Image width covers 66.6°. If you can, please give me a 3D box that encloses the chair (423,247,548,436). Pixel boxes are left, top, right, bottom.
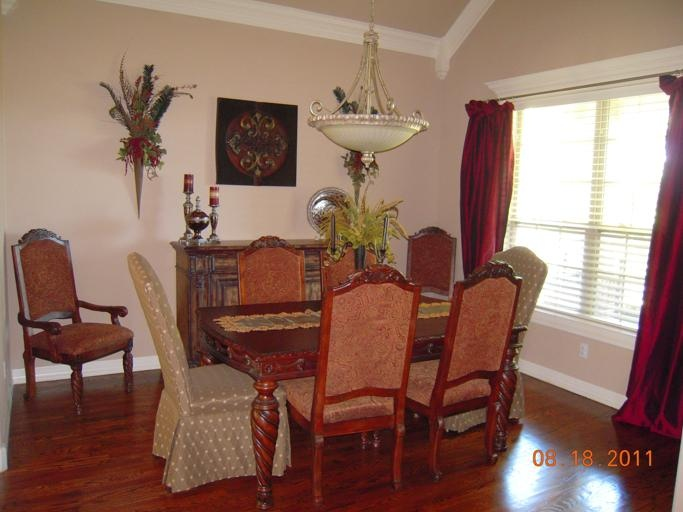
[{"bbox_3d":[1.160,0.657,4.259,0.921,1.478,0.934,-4,6,-35],"label":"chair"}]

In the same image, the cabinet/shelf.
[{"bbox_3d":[-0.662,0.361,4.031,1.056,0.970,0.417,-4,8,-28],"label":"cabinet/shelf"}]

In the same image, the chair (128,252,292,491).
[{"bbox_3d":[-0.946,0.478,4.218,1.317,2.249,1.359,-5,16,-22],"label":"chair"}]

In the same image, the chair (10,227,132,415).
[{"bbox_3d":[-2.333,0.499,4.552,0.825,1.495,0.823,5,7,29],"label":"chair"}]

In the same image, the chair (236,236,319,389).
[{"bbox_3d":[-0.615,0.198,4.474,0.569,1.086,0.544,-1,4,-18],"label":"chair"}]

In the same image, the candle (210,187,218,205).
[{"bbox_3d":[-1.243,-0.584,5.061,0.084,0.181,0.054,-11,18,-41],"label":"candle"}]
